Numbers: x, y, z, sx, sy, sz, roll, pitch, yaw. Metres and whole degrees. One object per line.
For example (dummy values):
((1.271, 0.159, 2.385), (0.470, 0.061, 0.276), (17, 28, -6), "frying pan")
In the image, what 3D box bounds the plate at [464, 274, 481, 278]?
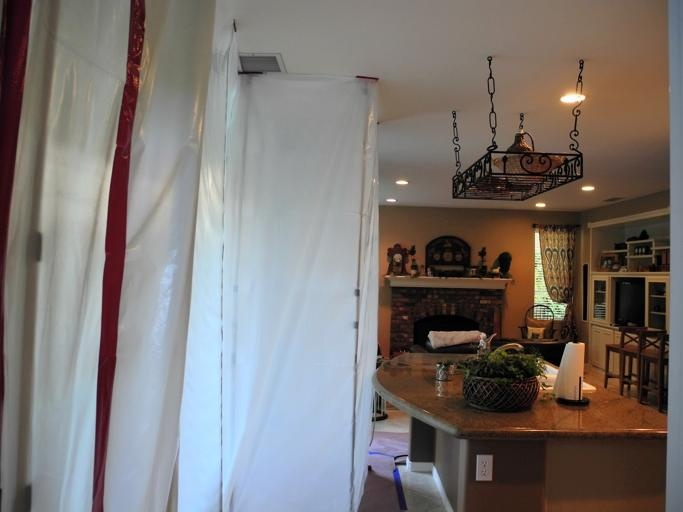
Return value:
((1.856, 0.277, 8.620), (0.215, 0.054, 0.143), (3, -2, 15), "plate")

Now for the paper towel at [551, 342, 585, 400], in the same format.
((1.203, 0.587, 3.139), (0.104, 0.274, 0.123), (0, 3, 7), "paper towel")

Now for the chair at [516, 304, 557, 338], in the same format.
((2.790, 0.919, 8.686), (0.442, 0.740, 0.490), (-1, -5, 17), "chair")

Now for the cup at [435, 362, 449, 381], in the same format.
((0.571, 0.663, 3.496), (0.085, 0.103, 0.088), (1, -5, 0), "cup")

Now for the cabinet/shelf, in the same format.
((3.325, 0.476, 7.055), (0.430, 1.945, 1.986), (1, -2, 9), "cabinet/shelf")

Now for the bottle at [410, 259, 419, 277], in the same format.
((1.040, 0.160, 8.663), (0.127, 0.219, 0.239), (3, -2, 5), "bottle")

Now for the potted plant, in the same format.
((0.788, 0.608, 3.068), (0.308, 0.237, 0.301), (0, -11, -3), "potted plant")

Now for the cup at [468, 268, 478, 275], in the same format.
((1.878, 0.227, 8.652), (0.122, 0.086, 0.068), (4, -1, -15), "cup")

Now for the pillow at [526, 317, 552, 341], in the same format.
((2.718, 1.018, 8.447), (0.298, 0.155, 0.386), (-2, 30, 21), "pillow")
